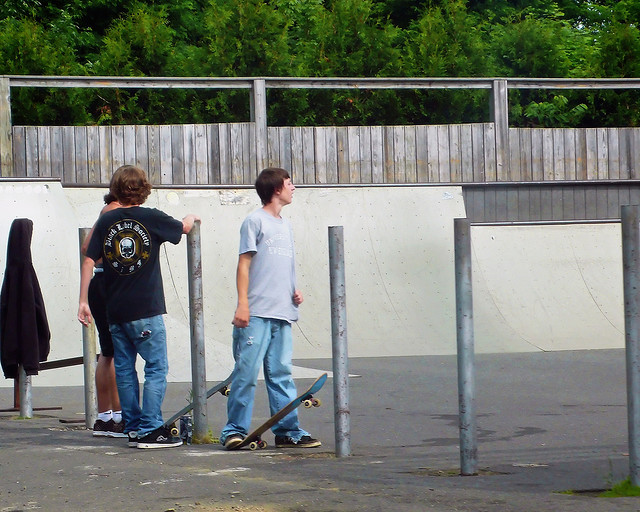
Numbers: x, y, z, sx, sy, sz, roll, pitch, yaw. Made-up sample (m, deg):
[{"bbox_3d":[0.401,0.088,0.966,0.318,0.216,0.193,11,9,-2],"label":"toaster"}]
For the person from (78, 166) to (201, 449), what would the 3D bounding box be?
[{"bbox_3d":[-2.364,0.636,20.202,1.354,3.604,0.687,-3,5,-5],"label":"person"}]

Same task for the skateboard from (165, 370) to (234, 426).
[{"bbox_3d":[-1.635,1.945,21.328,0.963,0.167,0.226,-40,25,0],"label":"skateboard"}]

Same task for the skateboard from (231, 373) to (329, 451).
[{"bbox_3d":[-0.540,2.051,20.440,1.161,0.197,0.272,-41,-22,-5],"label":"skateboard"}]

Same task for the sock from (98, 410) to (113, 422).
[{"bbox_3d":[-2.826,2.091,20.633,0.180,0.143,0.070,-3,5,-7],"label":"sock"}]

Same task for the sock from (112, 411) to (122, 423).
[{"bbox_3d":[-2.675,2.101,20.722,0.128,0.136,0.135,0,-8,0],"label":"sock"}]
